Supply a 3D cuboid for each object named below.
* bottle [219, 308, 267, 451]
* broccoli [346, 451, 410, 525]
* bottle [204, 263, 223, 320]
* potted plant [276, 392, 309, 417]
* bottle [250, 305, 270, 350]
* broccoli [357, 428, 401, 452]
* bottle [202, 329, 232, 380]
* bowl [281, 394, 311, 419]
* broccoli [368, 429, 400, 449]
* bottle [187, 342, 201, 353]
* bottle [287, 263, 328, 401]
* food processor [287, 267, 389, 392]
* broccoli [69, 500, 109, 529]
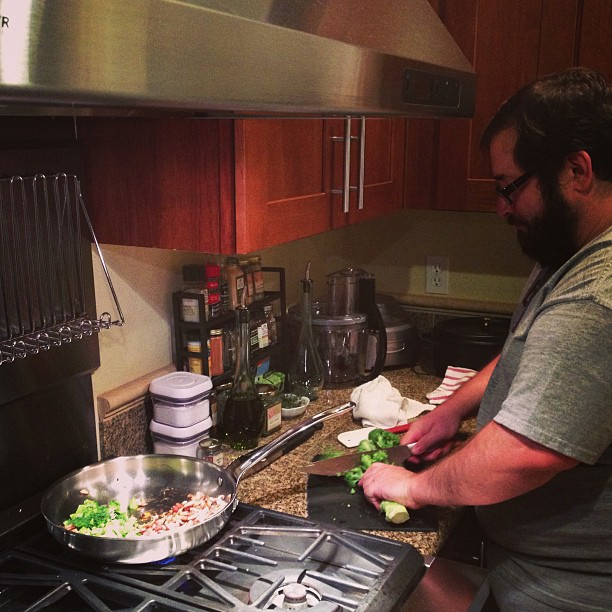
[{"bbox_3d":[-0.156,0.174,1.271,0.104,0.349,0.084,-3,10,-2],"label":"bottle"},{"bbox_3d":[0.147,0.373,1.136,0.050,0.047,0.183,-7,31,-9],"label":"broccoli"},{"bbox_3d":[-0.217,-0.038,1.345,0.033,0.134,0.082,0,10,17],"label":"bottle"},{"bbox_3d":[-0.034,0.271,1.537,0.074,0.025,0.072,2,16,6],"label":"potted plant"},{"bbox_3d":[-0.133,0.056,1.520,0.050,0.145,0.048,-1,18,0],"label":"bottle"},{"bbox_3d":[0.169,0.309,1.321,0.055,0.032,0.073,-6,9,38],"label":"broccoli"},{"bbox_3d":[-0.252,0.119,1.368,0.084,0.118,0.080,-8,-9,-1],"label":"bottle"},{"bbox_3d":[-0.027,0.280,1.543,0.078,0.046,0.125,-2,10,0],"label":"bowl"},{"bbox_3d":[0.189,0.320,1.322,0.052,0.024,0.038,5,16,-10],"label":"broccoli"},{"bbox_3d":[-0.271,0.101,1.331,0.047,0.026,0.009,4,12,33],"label":"bottle"},{"bbox_3d":[-0.006,0.101,1.612,0.107,0.367,0.135,-3,10,-3],"label":"bottle"},{"bbox_3d":[0.165,0.080,1.744,0.219,0.349,0.349,-2,9,-20],"label":"food processor"},{"bbox_3d":[-0.375,0.359,0.958,0.041,0.017,0.042,8,13,-4],"label":"broccoli"}]
